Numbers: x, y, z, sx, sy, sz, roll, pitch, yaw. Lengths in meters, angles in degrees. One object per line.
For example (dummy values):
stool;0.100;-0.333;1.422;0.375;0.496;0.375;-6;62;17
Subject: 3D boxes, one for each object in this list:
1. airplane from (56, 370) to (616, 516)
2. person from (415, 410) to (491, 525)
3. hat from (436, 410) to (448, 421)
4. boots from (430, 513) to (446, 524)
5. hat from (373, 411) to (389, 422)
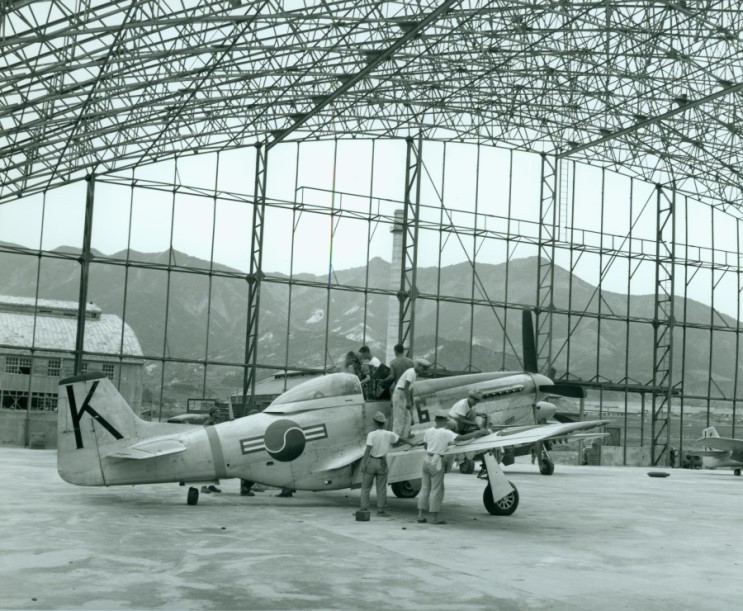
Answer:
airplane;-2.733;2.701;18.868;5.973;1.491;5.665;0;-2;-20
person;1.363;3.114;17.935;0.854;2.131;1.188;6;4;15
hat;1.372;2.127;17.887;0.336;0.171;0.379;-1;-8;7
boots;1.258;4.023;17.686;0.158;0.235;0.423;0;0;33
hat;0.206;2.168;18.104;0.176;0.191;0.447;5;4;14
